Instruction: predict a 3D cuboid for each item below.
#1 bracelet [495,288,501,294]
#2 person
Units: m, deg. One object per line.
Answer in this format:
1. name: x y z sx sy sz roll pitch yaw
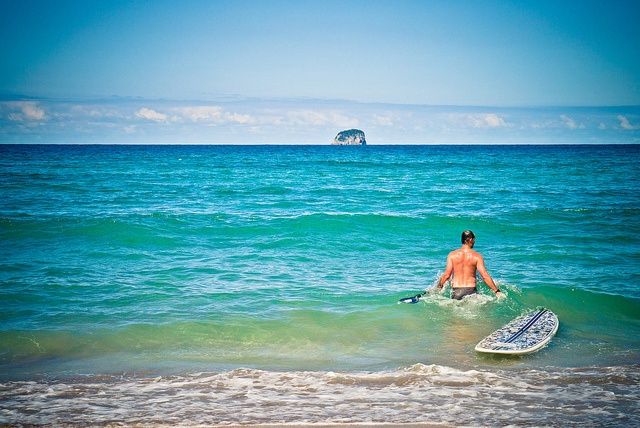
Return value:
1. bracelet: 5.581 2.423 19.405 0.176 0.190 0.118 45 4 -37
2. person: 4.607 1.612 19.412 1.683 2.149 0.443 1 9 5
